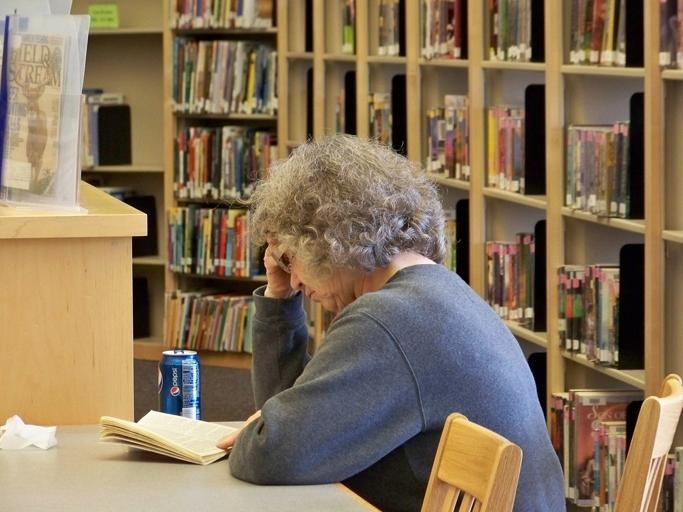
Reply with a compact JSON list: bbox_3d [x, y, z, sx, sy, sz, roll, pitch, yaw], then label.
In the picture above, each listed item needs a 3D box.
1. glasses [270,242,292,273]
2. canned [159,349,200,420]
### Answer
[{"bbox_3d":[-0.152,0.005,2.124,0.046,0.069,0.067,-2,-13,-10],"label":"glasses"},{"bbox_3d":[-0.421,0.340,2.185,0.105,0.163,0.087,-5,12,-10],"label":"canned"}]
